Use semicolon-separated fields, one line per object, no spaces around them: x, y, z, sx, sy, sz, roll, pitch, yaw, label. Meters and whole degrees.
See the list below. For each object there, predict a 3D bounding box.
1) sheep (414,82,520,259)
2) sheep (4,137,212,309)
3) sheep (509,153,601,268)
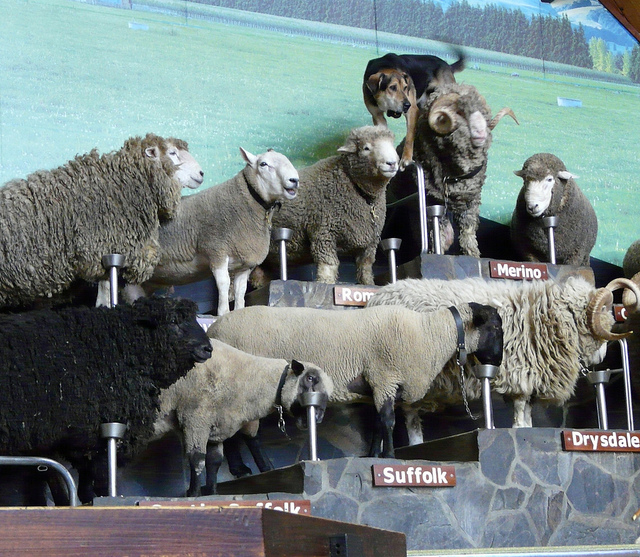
1.023;-0.765;11.802;0.664;1.406;1.339;5;16;5;sheep
-1.499;-0.345;10.141;1.237;1.022;0.491;-9;20;-35;sheep
1.720;-0.482;12.569;0.518;0.768;1.077;-9;-27;27;sheep
